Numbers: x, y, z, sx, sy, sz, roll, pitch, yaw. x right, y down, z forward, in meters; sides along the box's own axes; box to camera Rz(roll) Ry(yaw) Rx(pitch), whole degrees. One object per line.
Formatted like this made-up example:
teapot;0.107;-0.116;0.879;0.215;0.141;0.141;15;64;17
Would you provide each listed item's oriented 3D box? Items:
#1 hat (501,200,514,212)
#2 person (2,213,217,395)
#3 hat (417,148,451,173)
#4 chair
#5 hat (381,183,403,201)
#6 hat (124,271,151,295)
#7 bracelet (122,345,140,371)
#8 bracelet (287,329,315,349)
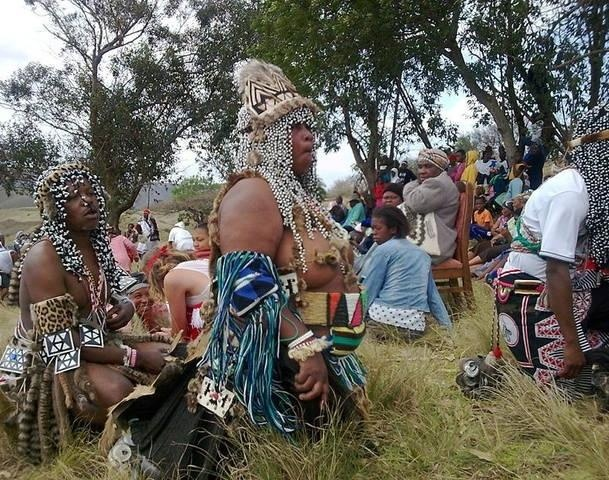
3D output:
hat;3.691;-0.630;8.744;0.113;0.157;0.134;11;0;29
person;-1.434;0.584;4.895;1.513;1.939;0.975;-3;42;-11
hat;1.666;-1.099;6.243;0.283;0.372;0.289;-41;37;-9
chair;1.744;0.060;5.561;0.507;1.147;0.736;-6;2;20
hat;1.257;-0.725;6.908;0.211;0.277;0.276;4;18;2
hat;-1.678;0.431;4.815;0.177;0.193;0.238;-4;-11;-24
bracelet;-1.073;0.732;3.028;0.105;0.114;0.084;2;-3;-5
bracelet;-0.017;0.466;2.251;0.079;0.020;0.083;-23;-7;-28
